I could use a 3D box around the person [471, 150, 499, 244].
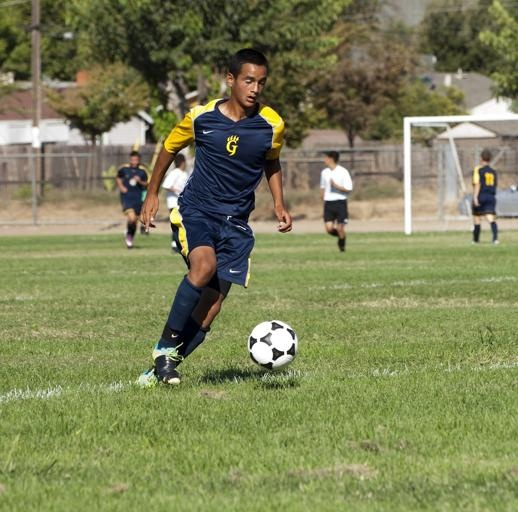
[{"bbox_3d":[3.734,-0.974,19.421,0.430,1.659,0.814,1,10,11],"label":"person"}]

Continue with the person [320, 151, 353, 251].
[{"bbox_3d":[1.236,-0.872,18.730,0.463,1.687,0.823,0,10,3],"label":"person"}]

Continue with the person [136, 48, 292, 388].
[{"bbox_3d":[-0.336,-0.336,9.308,1.204,2.621,0.799,-2,10,-6],"label":"person"}]

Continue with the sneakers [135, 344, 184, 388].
[{"bbox_3d":[-0.781,0.881,9.209,0.375,0.310,0.291,-2,10,-5],"label":"sneakers"}]
